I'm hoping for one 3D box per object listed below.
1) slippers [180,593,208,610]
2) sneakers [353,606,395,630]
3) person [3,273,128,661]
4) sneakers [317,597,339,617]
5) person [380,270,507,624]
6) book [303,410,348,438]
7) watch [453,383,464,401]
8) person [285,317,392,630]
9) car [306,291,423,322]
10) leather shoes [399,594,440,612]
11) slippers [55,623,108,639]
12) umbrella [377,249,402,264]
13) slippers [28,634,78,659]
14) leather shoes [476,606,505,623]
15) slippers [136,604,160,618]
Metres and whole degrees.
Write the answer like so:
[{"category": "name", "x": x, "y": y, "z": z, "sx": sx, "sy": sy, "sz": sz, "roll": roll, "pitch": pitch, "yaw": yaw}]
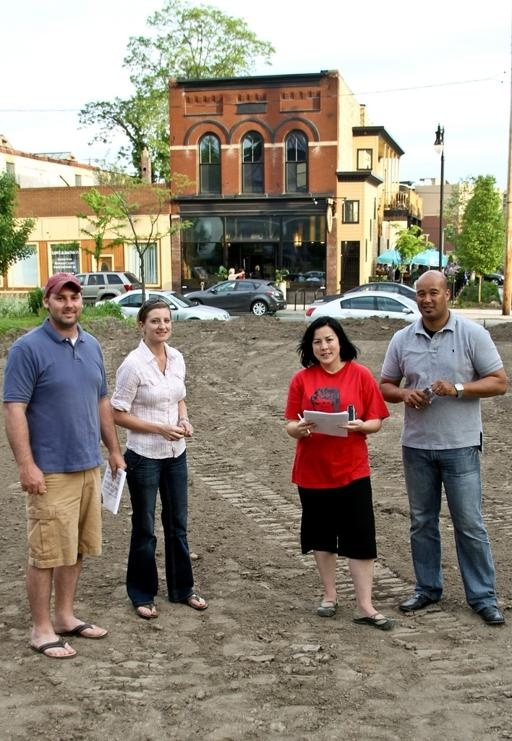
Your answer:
[{"category": "slippers", "x": -0.331, "y": 1.291, "z": 4.805, "sx": 0.068, "sy": 0.047, "sz": 0.125, "roll": -1, "pitch": 0, "yaw": -31}, {"category": "sneakers", "x": 0.607, "y": 1.291, "z": 4.466, "sx": 0.185, "sy": 0.067, "sz": 0.079, "roll": 0, "pitch": 4, "yaw": 26}, {"category": "person", "x": -0.928, "y": 0.433, "z": 4.228, "sx": 0.423, "sy": 1.823, "sz": 0.627, "roll": 1, "pitch": 7, "yaw": 13}, {"category": "sneakers", "x": 0.389, "y": 1.290, "z": 4.677, "sx": 0.093, "sy": 0.064, "sz": 0.188, "roll": -2, "pitch": -6, "yaw": 9}, {"category": "person", "x": 1.025, "y": 0.384, "z": 4.707, "sx": 0.806, "sy": 1.858, "sz": 0.470, "roll": 4, "pitch": 8, "yaw": 30}, {"category": "book", "x": 0.367, "y": 0.273, "z": 4.332, "sx": 0.174, "sy": 0.154, "sz": 0.231, "roll": -5, "pitch": 8, "yaw": -33}, {"category": "watch", "x": 1.061, "y": 0.100, "z": 4.498, "sx": 0.051, "sy": 0.061, "sz": 0.071, "roll": 4, "pitch": 6, "yaw": -10}, {"category": "person", "x": 0.438, "y": 0.537, "z": 4.562, "sx": 0.639, "sy": 1.637, "sz": 0.548, "roll": 3, "pitch": 8, "yaw": 27}, {"category": "car", "x": 2.502, "y": -1.476, "z": 19.818, "sx": 3.142, "sy": 0.969, "sz": 1.387, "roll": 1, "pitch": 3, "yaw": 2}, {"category": "leather shoes", "x": 0.901, "y": 1.275, "z": 4.771, "sx": 0.231, "sy": 0.067, "sz": 0.080, "roll": -3, "pitch": 3, "yaw": -33}, {"category": "slippers", "x": -0.878, "y": 1.297, "z": 4.293, "sx": 0.209, "sy": 0.051, "sz": 0.091, "roll": -1, "pitch": 15, "yaw": -2}, {"category": "umbrella", "x": 6.419, "y": -5.551, "z": 41.770, "sx": 1.180, "sy": 0.715, "sz": 1.125, "roll": -1, "pitch": 3, "yaw": 3}, {"category": "slippers", "x": -0.981, "y": 1.322, "z": 4.088, "sx": 0.249, "sy": 0.066, "sz": 0.124, "roll": 1, "pitch": 7, "yaw": 10}, {"category": "leather shoes", "x": 1.227, "y": 1.283, "z": 4.504, "sx": 0.076, "sy": 0.074, "sz": 0.146, "roll": -2, "pitch": 7, "yaw": -15}, {"category": "slippers", "x": -0.592, "y": 1.300, "z": 4.636, "sx": 0.118, "sy": 0.050, "sz": 0.115, "roll": -1, "pitch": 7, "yaw": -6}]
